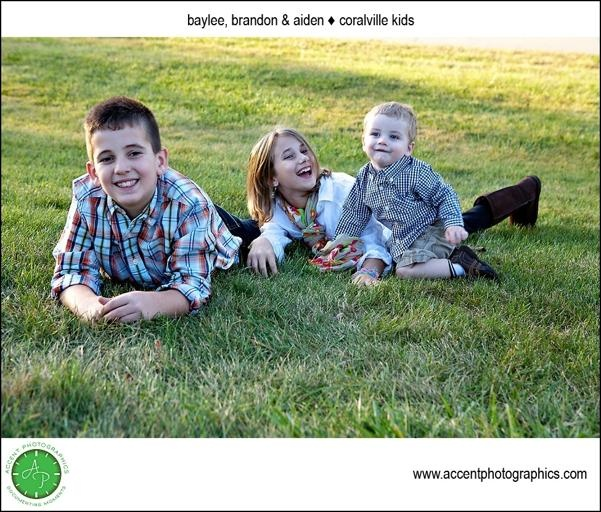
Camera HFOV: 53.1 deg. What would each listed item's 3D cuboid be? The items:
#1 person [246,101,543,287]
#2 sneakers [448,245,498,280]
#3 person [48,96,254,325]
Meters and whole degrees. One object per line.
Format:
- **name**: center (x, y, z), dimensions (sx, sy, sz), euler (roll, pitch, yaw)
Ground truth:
- **person**: center (0.548, -0.285, 3.687), dimensions (1.023, 0.647, 1.249), euler (0, 2, 30)
- **sneakers**: center (0.901, 0.014, 3.153), dimensions (0.360, 0.144, 0.125), euler (-5, 10, 37)
- **person**: center (-0.798, -0.322, 3.366), dimensions (0.904, 0.940, 1.965), euler (1, 10, -5)
